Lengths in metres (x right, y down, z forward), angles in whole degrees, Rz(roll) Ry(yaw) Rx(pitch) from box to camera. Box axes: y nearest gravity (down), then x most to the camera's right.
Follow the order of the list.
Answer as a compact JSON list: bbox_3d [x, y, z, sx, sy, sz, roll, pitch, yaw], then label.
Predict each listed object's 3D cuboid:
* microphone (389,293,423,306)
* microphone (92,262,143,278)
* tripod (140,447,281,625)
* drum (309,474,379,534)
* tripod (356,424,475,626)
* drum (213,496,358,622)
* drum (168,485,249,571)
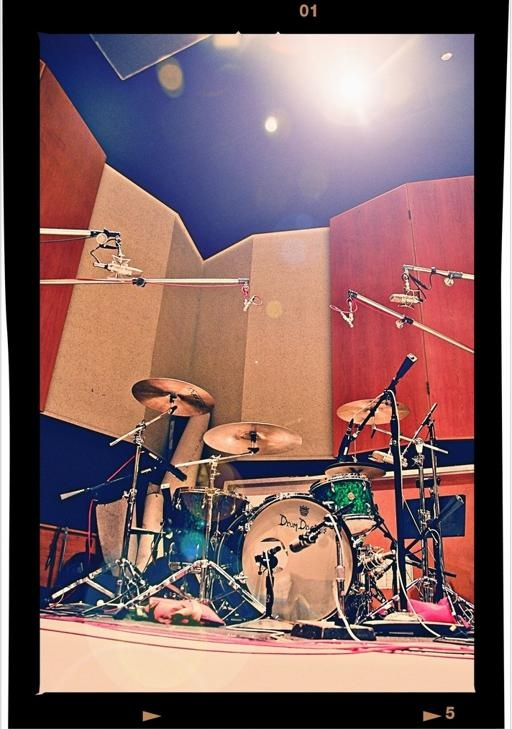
[{"bbox_3d":[0.662,-0.290,2.857,0.065,0.035,0.092,-5,10,-37],"label":"microphone"},{"bbox_3d":[-0.624,-0.422,2.898,0.194,0.094,0.064,0,7,-15],"label":"microphone"},{"bbox_3d":[-0.208,0.871,3.027,0.573,0.835,0.681,7,-31,-6],"label":"tripod"},{"bbox_3d":[0.363,0.567,2.688,0.234,0.181,0.240,-4,-37,-3],"label":"drum"},{"bbox_3d":[0.683,0.603,2.666,0.378,0.865,0.113,-1,-18,16],"label":"tripod"},{"bbox_3d":[0.121,0.785,2.767,0.605,0.642,0.433,6,-7,-13],"label":"drum"},{"bbox_3d":[-0.211,0.700,2.808,0.316,0.311,0.322,6,-24,-4],"label":"drum"}]
